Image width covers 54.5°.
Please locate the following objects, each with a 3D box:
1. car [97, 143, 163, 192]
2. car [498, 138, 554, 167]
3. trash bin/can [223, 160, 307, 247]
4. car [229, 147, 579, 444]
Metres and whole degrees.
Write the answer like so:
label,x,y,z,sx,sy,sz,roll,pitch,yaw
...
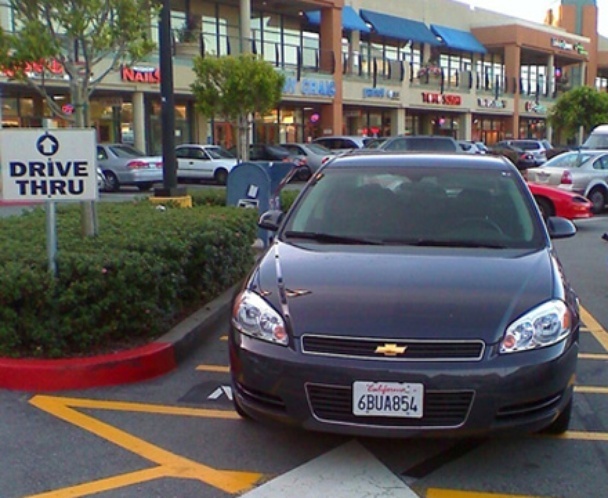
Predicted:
label,x,y,z,sx,sy,sz,roll,pitch,yaw
car,-5.943,-2.744,20.047,2.020,1.585,1.140,-3,10,-13
car,11.933,-4.922,31.988,3.577,1.596,1.810,5,13,20
trash bin/can,-0.587,-0.797,9.767,1.393,1.995,1.066,0,9,-2
car,0.964,0.254,5.080,2.388,1.974,4.248,1,4,20
